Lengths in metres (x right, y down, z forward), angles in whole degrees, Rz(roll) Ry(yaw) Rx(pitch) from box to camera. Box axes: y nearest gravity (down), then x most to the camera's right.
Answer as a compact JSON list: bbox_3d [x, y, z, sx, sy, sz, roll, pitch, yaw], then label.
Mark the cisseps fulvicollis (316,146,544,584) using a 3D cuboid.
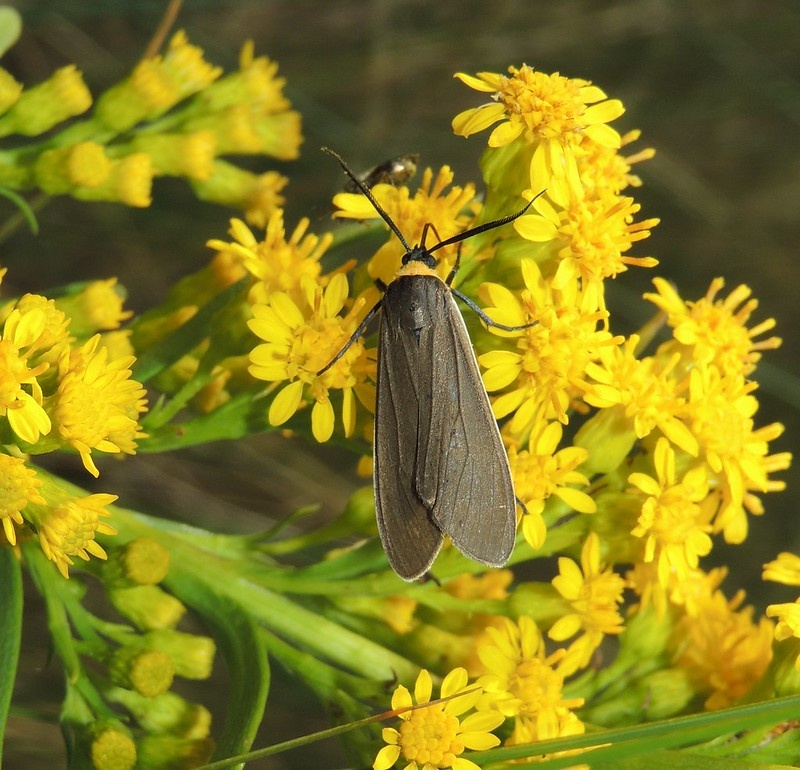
[{"bbox_3d":[0.015,-0.008,0.597,0.191,0.235,0.043,0,4,14],"label":"cisseps fulvicollis"}]
